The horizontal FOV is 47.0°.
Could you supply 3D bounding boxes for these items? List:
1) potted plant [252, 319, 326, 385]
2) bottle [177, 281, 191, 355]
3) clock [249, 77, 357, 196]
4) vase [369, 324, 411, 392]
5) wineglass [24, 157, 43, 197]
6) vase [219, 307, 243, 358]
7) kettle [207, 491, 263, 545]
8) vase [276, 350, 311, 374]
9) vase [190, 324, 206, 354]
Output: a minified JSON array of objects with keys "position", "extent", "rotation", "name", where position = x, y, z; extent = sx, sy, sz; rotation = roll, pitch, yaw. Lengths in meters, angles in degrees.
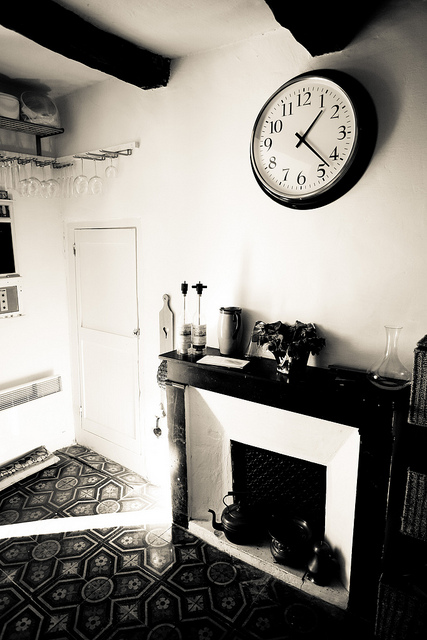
[{"position":[0.307,0.117,2.093],"extent":[0.231,0.201,0.245],"rotation":[-14,11,-26],"name":"potted plant"},{"position":[-0.149,-0.006,2.489],"extent":[0.081,0.371,0.083],"rotation":[1,11,0],"name":"bottle"},{"position":[0.382,-0.755,2.018],"extent":[0.454,0.487,0.063],"rotation":[12,12,42],"name":"clock"},{"position":[0.676,0.147,1.873],"extent":[0.142,0.243,0.139],"rotation":[7,1,43],"name":"vase"},{"position":[-0.973,-0.760,2.634],"extent":[0.087,0.209,0.089],"rotation":[0,0,-40],"name":"wineglass"},{"position":[0.086,0.050,2.353],"extent":[0.112,0.220,0.197],"rotation":[-2,12,-14],"name":"vase"},{"position":[0.106,0.957,2.399],"extent":[0.233,0.240,0.199],"rotation":[1,9,-5],"name":"kettle"},{"position":[0.326,0.181,2.013],"extent":[0.095,0.080,0.090],"rotation":[6,3,16],"name":"vase"},{"position":[-0.077,0.092,2.438],"extent":[0.066,0.150,0.057],"rotation":[-1,10,-1],"name":"vase"}]
